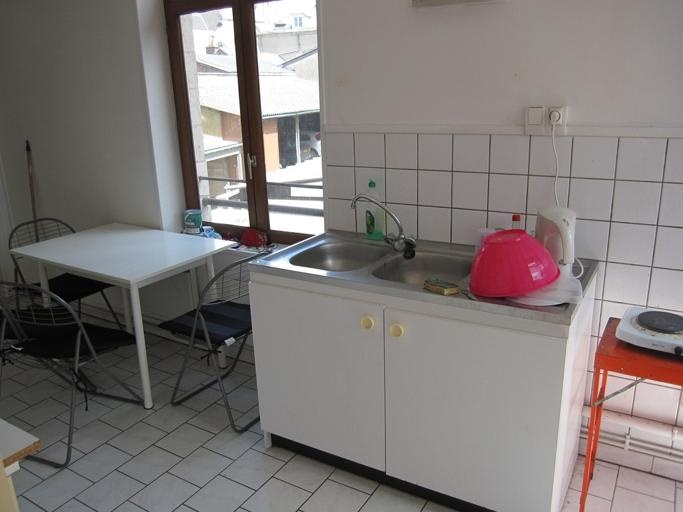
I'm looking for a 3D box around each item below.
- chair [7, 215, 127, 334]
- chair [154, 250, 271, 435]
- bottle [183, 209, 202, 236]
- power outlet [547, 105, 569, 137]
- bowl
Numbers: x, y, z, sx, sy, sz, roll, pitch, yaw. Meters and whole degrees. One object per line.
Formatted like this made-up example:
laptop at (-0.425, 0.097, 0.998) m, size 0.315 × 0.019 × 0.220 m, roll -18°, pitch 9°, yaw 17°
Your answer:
chair at (-1.845, 0.128, 3.494) m, size 0.639 × 0.905 × 0.520 m, roll 13°, pitch 27°, yaw 29°
chair at (-0.708, 0.449, 3.113) m, size 0.561 × 0.945 × 0.565 m, roll 9°, pitch 16°, yaw 30°
bottle at (-1.028, -0.238, 3.548) m, size 0.160 × 0.187 × 0.162 m, roll -3°, pitch 14°, yaw -16°
power outlet at (0.993, -0.621, 2.332) m, size 0.101 × 0.155 × 0.080 m, roll 11°, pitch 28°, yaw 35°
bowl at (0.713, 0.010, 2.199) m, size 0.377 × 0.215 × 0.390 m, roll -14°, pitch 11°, yaw 3°
